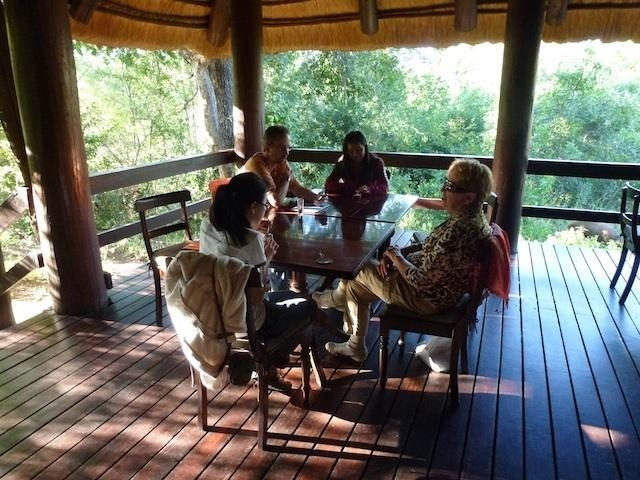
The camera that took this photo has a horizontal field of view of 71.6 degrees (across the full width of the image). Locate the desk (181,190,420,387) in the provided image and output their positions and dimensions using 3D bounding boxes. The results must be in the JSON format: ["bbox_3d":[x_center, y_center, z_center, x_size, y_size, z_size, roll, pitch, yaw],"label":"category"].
[{"bbox_3d":[0.009,-0.040,3.283,0.970,0.540,1.911,8,22,19],"label":"desk"}]

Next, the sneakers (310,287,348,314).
[{"bbox_3d":[0.089,0.458,3.595,0.119,0.194,0.396,-11,14,-33],"label":"sneakers"}]

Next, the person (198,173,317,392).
[{"bbox_3d":[-0.379,0.343,2.812,0.520,1.406,0.760,11,13,33],"label":"person"}]

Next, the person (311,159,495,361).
[{"bbox_3d":[0.712,-0.123,3.805,1.450,1.978,0.937,13,23,26],"label":"person"}]

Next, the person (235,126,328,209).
[{"bbox_3d":[-0.319,-0.675,4.202,0.773,0.687,0.601,3,14,-3],"label":"person"}]

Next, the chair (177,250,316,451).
[{"bbox_3d":[-0.451,0.565,2.715,0.715,1.208,0.762,15,23,41],"label":"chair"}]

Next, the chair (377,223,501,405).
[{"bbox_3d":[0.866,0.429,3.080,0.764,1.185,0.632,7,20,23],"label":"chair"}]

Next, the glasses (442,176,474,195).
[{"bbox_3d":[0.858,-0.340,2.798,0.114,0.039,0.101,16,17,-4],"label":"glasses"}]

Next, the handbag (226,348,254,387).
[{"bbox_3d":[-0.428,0.739,2.478,0.151,0.246,0.129,-1,-5,16],"label":"handbag"}]
